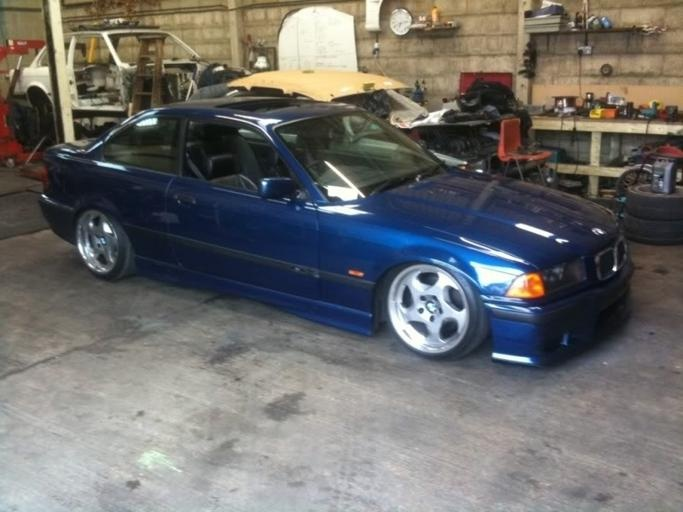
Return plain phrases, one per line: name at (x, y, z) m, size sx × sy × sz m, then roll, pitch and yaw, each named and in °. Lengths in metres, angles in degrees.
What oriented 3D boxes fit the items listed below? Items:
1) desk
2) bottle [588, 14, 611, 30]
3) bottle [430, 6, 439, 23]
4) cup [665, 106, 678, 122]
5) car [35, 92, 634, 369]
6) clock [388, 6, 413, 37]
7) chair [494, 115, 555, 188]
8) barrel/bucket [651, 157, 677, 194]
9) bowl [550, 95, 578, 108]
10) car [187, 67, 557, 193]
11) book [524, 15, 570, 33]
desk at (3.689, -1.446, 7.964) m, size 2.049 × 0.905 × 0.628 m, roll 17°, pitch 38°, yaw 35°
bottle at (4.114, -3.739, 8.995) m, size 0.304 × 0.145 × 0.236 m, roll 16°, pitch 34°, yaw 35°
bottle at (1.766, -4.548, 10.618) m, size 0.151 × 0.356 × 0.369 m, roll 1°, pitch 20°, yaw 7°
cup at (4.927, -2.134, 8.414) m, size 0.170 × 0.203 × 0.396 m, roll 9°, pitch 21°, yaw 27°
car at (-0.374, -0.337, 4.827) m, size 4.813 × 1.319 × 2.018 m, roll 10°, pitch 25°, yaw 25°
clock at (1.167, -4.641, 11.092) m, size 0.470 × 0.475 × 0.195 m, roll 17°, pitch 28°, yaw 41°
chair at (2.372, -1.311, 7.477) m, size 0.740 × 0.820 × 0.649 m, roll 3°, pitch 24°, yaw -11°
barrel/bucket at (3.443, -0.837, 5.981) m, size 0.224 × 0.320 × 0.204 m, roll -1°, pitch 20°, yaw 1°
bowl at (3.691, -2.567, 9.431) m, size 0.350 × 0.142 × 0.322 m, roll -1°, pitch 7°, yaw 0°
car at (0.796, -1.939, 7.883) m, size 3.959 × 1.040 × 2.239 m, roll 7°, pitch 22°, yaw 14°
book at (3.353, -3.814, 9.243) m, size 0.701 × 0.262 × 0.282 m, roll 3°, pitch 20°, yaw 13°
